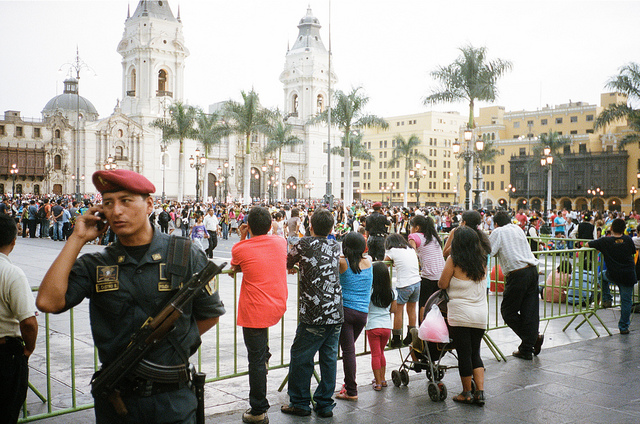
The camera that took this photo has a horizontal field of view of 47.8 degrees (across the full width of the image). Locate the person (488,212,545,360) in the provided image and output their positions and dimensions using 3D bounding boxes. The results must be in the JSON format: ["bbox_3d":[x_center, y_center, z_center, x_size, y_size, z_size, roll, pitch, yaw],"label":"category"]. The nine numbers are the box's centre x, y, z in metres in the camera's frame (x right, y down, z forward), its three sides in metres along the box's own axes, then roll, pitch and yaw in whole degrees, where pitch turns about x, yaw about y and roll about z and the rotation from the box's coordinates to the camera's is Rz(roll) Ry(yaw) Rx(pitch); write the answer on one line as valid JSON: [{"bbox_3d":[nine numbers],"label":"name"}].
[{"bbox_3d":[3.936,1.424,14.606,0.933,2.954,1.532,-4,0,-31],"label":"person"}]

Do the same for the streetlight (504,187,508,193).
[{"bbox_3d":[22.780,-2.700,88.496,0.158,0.726,0.712,-8,-6,20],"label":"streetlight"}]

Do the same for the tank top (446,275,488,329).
[{"bbox_3d":[2.575,1.619,12.570,0.511,1.022,0.595,0,0,-2],"label":"tank top"}]

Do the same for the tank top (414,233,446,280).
[{"bbox_3d":[2.248,0.907,14.821,0.587,0.942,0.275,3,11,13],"label":"tank top"}]

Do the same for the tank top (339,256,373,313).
[{"bbox_3d":[0.657,1.297,12.653,0.595,0.943,0.365,-1,11,-6],"label":"tank top"}]

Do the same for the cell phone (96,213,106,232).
[{"bbox_3d":[-2.984,0.145,9.967,0.049,0.183,0.180,12,43,-2],"label":"cell phone"}]

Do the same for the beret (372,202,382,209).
[{"bbox_3d":[1.583,-0.194,19.750,0.202,0.082,0.249,-2,-2,-18],"label":"beret"}]

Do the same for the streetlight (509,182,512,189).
[{"bbox_3d":[22.523,-3.076,85.570,0.205,0.960,0.939,3,-6,10],"label":"streetlight"}]

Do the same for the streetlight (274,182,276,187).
[{"bbox_3d":[-4.311,-2.674,70.642,0.115,0.507,0.495,2,1,-6],"label":"streetlight"}]

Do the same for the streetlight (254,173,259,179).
[{"bbox_3d":[-7.744,-4.510,90.653,0.138,0.600,0.432,-4,2,39],"label":"streetlight"}]

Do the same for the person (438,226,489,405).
[{"bbox_3d":[2.514,1.820,12.566,0.766,3.002,0.670,2,11,9],"label":"person"}]

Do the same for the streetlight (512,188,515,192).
[{"bbox_3d":[22.068,-2.529,82.340,0.391,0.412,0.397,-10,-1,-25],"label":"streetlight"}]
